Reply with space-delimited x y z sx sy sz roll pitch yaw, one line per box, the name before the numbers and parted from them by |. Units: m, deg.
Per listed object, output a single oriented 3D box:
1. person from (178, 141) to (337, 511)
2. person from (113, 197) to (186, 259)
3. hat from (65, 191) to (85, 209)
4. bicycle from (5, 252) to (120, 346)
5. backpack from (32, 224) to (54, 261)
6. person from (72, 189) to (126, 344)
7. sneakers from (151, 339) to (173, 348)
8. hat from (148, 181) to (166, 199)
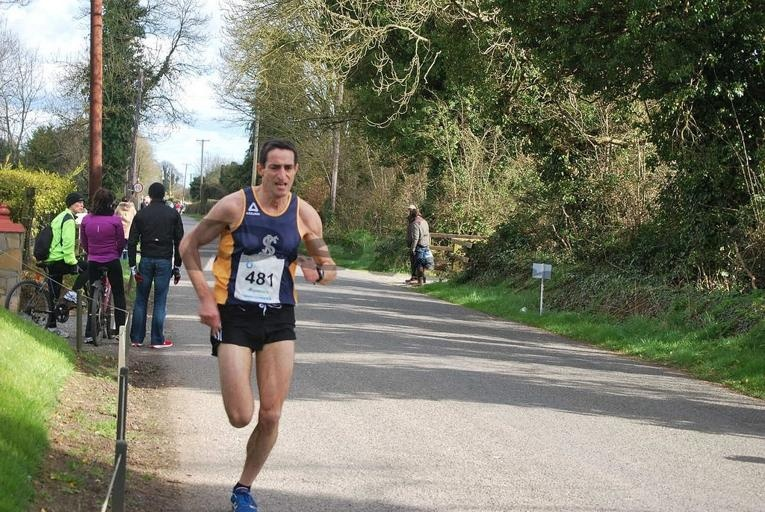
person | -1.203 0.655 7.131 1.327 3.258 0.539 4 -1 -18
person | -3.884 -0.393 12.844 0.858 1.121 0.436 4 -1 -15
hat | -5.533 -1.016 13.486 0.251 0.285 0.315 -18 -37 -6
bicycle | -5.667 0.793 13.129 2.241 1.562 1.182 4 -2 -10
backpack | -5.958 -0.361 13.384 0.340 0.681 0.475 13 17 -28
person | -4.793 0.133 12.890 0.820 2.733 1.144 4 -1 -23
sneakers | -3.767 1.503 12.878 0.329 0.155 0.130 -10 11 -38
hat | -3.874 -1.141 12.775 0.322 0.364 0.276 5 5 33
